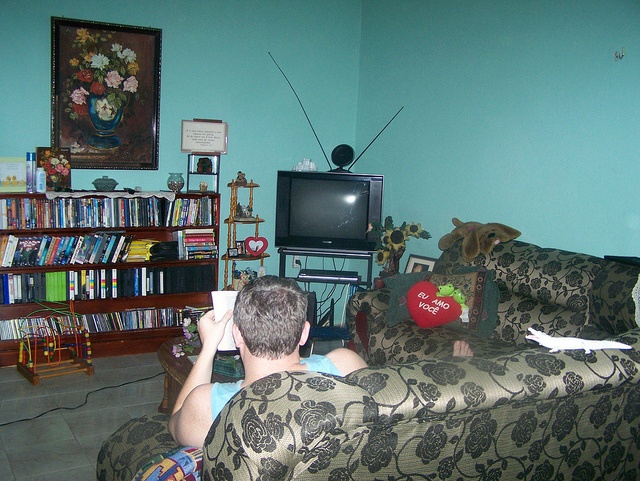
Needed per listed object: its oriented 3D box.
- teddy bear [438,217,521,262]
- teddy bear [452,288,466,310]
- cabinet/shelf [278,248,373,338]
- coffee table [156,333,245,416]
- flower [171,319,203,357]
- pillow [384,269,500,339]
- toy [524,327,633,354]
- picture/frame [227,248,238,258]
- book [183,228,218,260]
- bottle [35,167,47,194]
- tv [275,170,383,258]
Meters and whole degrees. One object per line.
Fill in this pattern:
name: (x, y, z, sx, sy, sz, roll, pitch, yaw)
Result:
teddy bear: (1.169, -0.016, 3.922, 0.339, 0.120, 0.395, -25, 20, -14)
teddy bear: (0.971, 0.400, 3.603, 0.033, 0.128, 0.075, -21, 6, 34)
cabinet/shelf: (0.069, 0.392, 4.202, 0.808, 0.731, 0.243, 0, 0, -2)
coffee table: (-0.825, 0.895, 3.225, 0.558, 0.350, 0.524, 5, 7, -4)
flower: (-0.839, 0.613, 3.253, 0.091, 0.216, 0.164, 12, 10, 15)
pillow: (0.916, 0.387, 3.567, 0.663, 0.489, 0.186, -2, -23, 20)
toy: (0.941, 0.353, 1.969, 0.392, 0.143, 0.095, -1, 47, -4)
picture/frame: (-0.818, 0.122, 4.887, 0.079, 0.074, 0.021, 4, -21, -19)
book: (-1.104, 0.035, 4.831, 0.328, 0.320, 0.245, 0, 1, -18)
bottle: (-2.258, -0.487, 4.206, 0.093, 0.195, 0.168, -9, 13, -27)
tv: (0.143, -0.264, 5.250, 1.136, 0.797, 0.651, 4, 6, 9)
